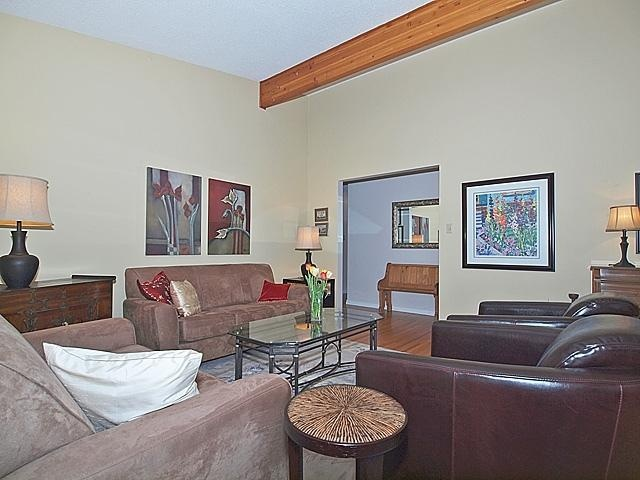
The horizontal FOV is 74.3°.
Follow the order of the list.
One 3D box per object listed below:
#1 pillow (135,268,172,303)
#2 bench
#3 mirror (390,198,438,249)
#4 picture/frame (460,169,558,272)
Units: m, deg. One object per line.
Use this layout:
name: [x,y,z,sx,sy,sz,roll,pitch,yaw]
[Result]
pillow: [-1.591,0.491,4.087,0.294,0.221,0.497,-4,12,-25]
bench: [1.382,0.804,6.424,0.581,0.882,1.165,-9,15,-42]
mirror: [1.543,-0.254,6.841,0.844,0.793,0.066,-1,-4,40]
picture/frame: [2.161,-0.210,4.770,1.185,1.371,0.098,-3,-6,36]
